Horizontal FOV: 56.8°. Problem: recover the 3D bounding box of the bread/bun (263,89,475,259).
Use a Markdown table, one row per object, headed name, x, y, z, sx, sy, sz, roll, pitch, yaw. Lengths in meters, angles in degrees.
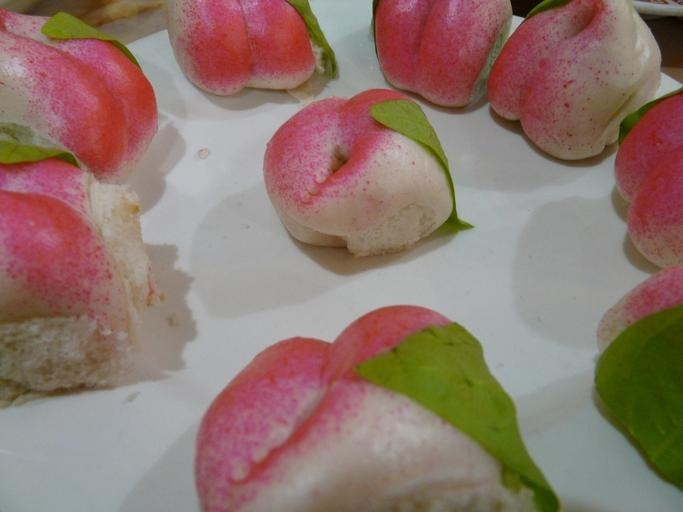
| name | x | y | z | sx | sy | sz | roll | pitch | yaw |
| --- | --- | --- | --- | --- | --- | --- | --- | --- | --- |
| bread/bun | 0.026 | -0.160 | 1.018 | 0.254 | 0.245 | 0.300 | -7 | 32 | -17 |
